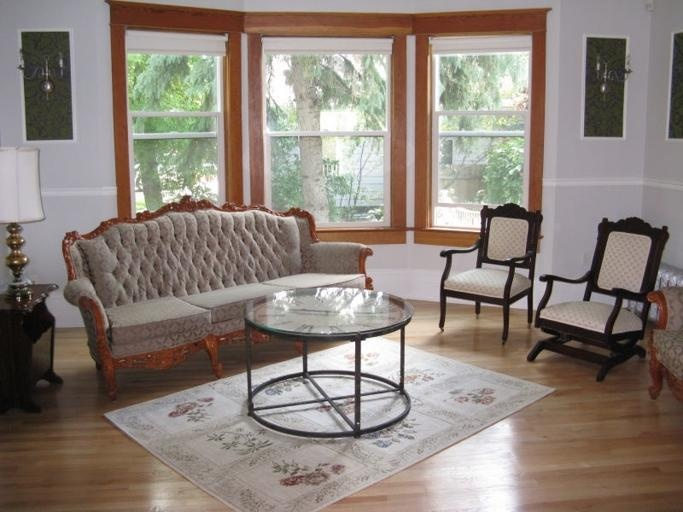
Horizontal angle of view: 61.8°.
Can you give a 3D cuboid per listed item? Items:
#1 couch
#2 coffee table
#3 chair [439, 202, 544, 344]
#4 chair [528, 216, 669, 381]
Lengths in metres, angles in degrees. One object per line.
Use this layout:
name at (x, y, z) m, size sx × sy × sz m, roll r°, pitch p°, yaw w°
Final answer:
couch at (-1.057, 0.157, 5.030) m, size 2.758 × 1.351 × 0.964 m, roll -9°, pitch 16°, yaw -41°
coffee table at (-0.118, 0.569, 4.001) m, size 1.067 × 0.618 × 1.026 m, roll -10°, pitch 16°, yaw -33°
chair at (1.473, 0.137, 5.515) m, size 0.925 × 1.140 × 0.858 m, roll -10°, pitch 15°, yaw -24°
chair at (2.181, 0.319, 4.761) m, size 0.970 × 1.086 × 0.717 m, roll -7°, pitch 13°, yaw -23°
